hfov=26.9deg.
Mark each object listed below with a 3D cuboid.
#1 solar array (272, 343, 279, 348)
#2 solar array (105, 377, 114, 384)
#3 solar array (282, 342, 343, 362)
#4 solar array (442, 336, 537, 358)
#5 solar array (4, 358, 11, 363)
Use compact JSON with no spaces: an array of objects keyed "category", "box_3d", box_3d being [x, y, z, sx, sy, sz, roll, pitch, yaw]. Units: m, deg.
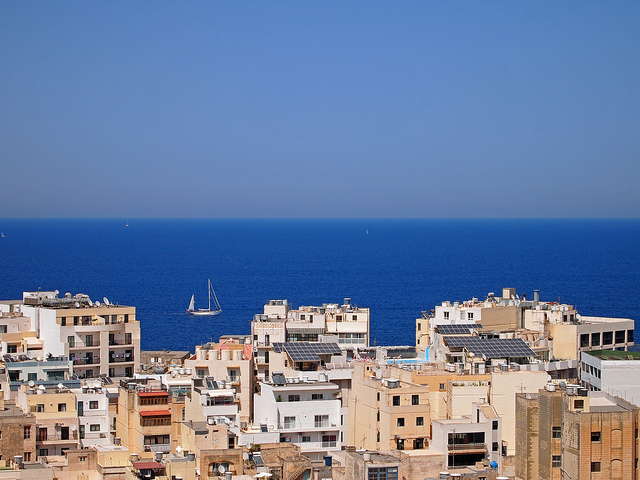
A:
[{"category":"solar array","box_3d":[-4.174,10.252,128.392,0.542,0.134,0.506,-3,9,-32]},{"category":"solar array","box_3d":[-19.205,13.017,122.394,0.683,0.532,8.222,-2,-5,-9]},{"category":"solar array","box_3d":[-0.730,10.605,124.988,4.983,1.766,3.884,0,-6,-27]},{"category":"solar array","box_3d":[15.721,10.015,123.921,7.892,2.107,5.083,-7,-6,37]},{"category":"solar array","box_3d":[-29.005,11.344,124.685,0.454,0.401,3.196,-2,-5,-13]}]
